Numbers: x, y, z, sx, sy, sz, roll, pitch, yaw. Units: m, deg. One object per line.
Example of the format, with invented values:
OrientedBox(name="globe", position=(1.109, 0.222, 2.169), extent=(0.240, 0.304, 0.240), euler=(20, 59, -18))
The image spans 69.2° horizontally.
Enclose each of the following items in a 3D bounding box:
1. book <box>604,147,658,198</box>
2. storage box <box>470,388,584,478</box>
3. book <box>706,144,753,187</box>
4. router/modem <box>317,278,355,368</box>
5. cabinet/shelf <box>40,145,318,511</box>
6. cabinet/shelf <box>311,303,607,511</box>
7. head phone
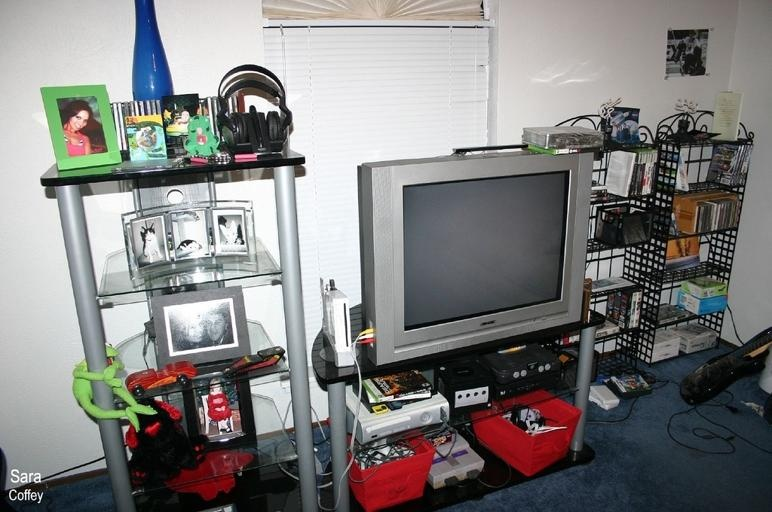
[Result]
OrientedBox(name="book", position=(1.653, -0.563, 3.990), extent=(0.323, 0.405, 0.423), euler=(-5, 11, -33))
OrientedBox(name="storage box", position=(0.842, 1.017, 3.531), extent=(0.508, 0.356, 0.637), euler=(-13, 21, -31))
OrientedBox(name="book", position=(2.510, -0.675, 4.090), extent=(0.258, 0.307, 0.136), euler=(4, 20, 27))
OrientedBox(name="router/modem", position=(-0.283, 0.379, 3.094), extent=(0.176, 0.304, 0.442), euler=(-4, 7, -12))
OrientedBox(name="cabinet/shelf", position=(-0.890, 0.490, 2.853), extent=(1.168, 1.968, 0.336), euler=(-8, 18, -6))
OrientedBox(name="cabinet/shelf", position=(0.460, 1.171, 3.904), extent=(2.196, 1.332, 1.100), euler=(-9, 30, -11))
OrientedBox(name="head phone", position=(-0.656, -0.707, 2.756), extent=(0.349, 0.429, 0.221), euler=(-8, 16, -27))
